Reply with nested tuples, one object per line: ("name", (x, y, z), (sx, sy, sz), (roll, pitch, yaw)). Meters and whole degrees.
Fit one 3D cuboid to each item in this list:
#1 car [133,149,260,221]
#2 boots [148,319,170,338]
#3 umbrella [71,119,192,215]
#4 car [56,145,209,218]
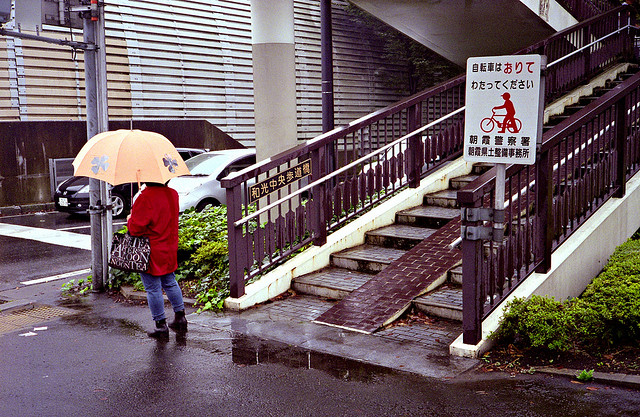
("car", (-2.576, -0.787, 15.121), (2.249, 1.045, 1.203), (-5, 3, -43))
("boots", (-2.213, 1.636, 8.670), (0.321, 0.311, 0.161), (5, 1, 14))
("umbrella", (-2.589, -0.713, 8.475), (0.966, 0.829, 0.994), (6, 9, 39))
("car", (-4.815, -0.515, 17.157), (4.093, 1.815, 2.190), (-1, 2, -37))
